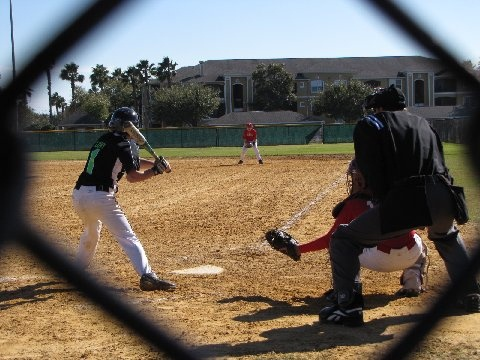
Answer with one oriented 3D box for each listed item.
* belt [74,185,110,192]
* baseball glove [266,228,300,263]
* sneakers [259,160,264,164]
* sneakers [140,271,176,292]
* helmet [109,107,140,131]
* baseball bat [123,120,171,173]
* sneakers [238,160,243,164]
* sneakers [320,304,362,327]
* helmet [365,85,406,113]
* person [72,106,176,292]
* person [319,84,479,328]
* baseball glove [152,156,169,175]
[{"bbox_3d":[-1.487,0.054,5.769,0.390,0.079,0.119,0,7,15],"label":"belt"},{"bbox_3d":[0.415,0.583,5.838,0.366,0.211,0.157,36,23,12],"label":"baseball glove"},{"bbox_3d":[0.629,-0.646,19.435,0.186,0.104,0.253,1,0,2],"label":"sneakers"},{"bbox_3d":[-0.838,0.949,5.847,0.408,0.179,0.143,2,5,-16],"label":"sneakers"},{"bbox_3d":[-1.211,-0.632,6.008,0.276,0.250,0.222,8,16,-1],"label":"helmet"},{"bbox_3d":[-0.951,-0.329,6.045,0.113,0.666,0.097,0,48,49],"label":"baseball bat"},{"bbox_3d":[-0.038,-0.633,19.043,0.177,0.158,0.089,0,4,4],"label":"sneakers"},{"bbox_3d":[0.839,1.076,5.013,0.328,0.180,0.148,4,1,18],"label":"sneakers"},{"bbox_3d":[1.281,-0.721,5.271,0.316,0.190,0.212,8,17,27],"label":"helmet"},{"bbox_3d":[-1.214,0.163,5.857,0.899,1.724,0.564,-3,8,-9],"label":"person"},{"bbox_3d":[1.293,0.283,4.938,1.247,1.697,0.497,-5,8,-22],"label":"person"},{"bbox_3d":[-0.855,-0.157,6.128,0.140,0.080,0.197,18,19,39],"label":"baseball glove"}]
